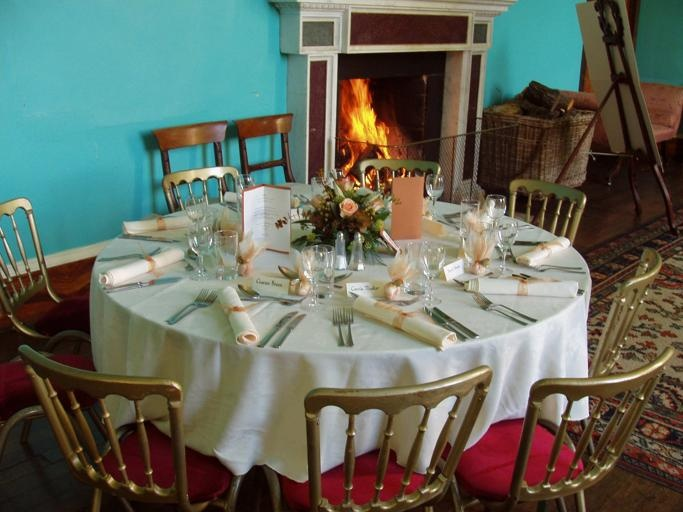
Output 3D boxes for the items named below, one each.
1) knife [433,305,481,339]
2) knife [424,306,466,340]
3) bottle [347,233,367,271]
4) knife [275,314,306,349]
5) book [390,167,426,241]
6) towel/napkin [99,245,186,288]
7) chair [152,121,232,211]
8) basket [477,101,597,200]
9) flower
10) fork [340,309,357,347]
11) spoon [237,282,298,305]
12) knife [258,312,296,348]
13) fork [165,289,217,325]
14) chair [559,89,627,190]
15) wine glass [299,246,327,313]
[{"bbox_3d":[0.374,0.204,1.713,0.044,0.018,0.321,-24,23,-10],"label":"knife"},{"bbox_3d":[0.341,0.219,1.698,0.043,0.018,0.241,-27,20,-1],"label":"knife"},{"bbox_3d":[0.060,-0.031,2.108,0.067,0.150,0.126,-2,16,3],"label":"bottle"},{"bbox_3d":[-0.168,0.240,1.630,0.031,0.017,0.192,17,25,13],"label":"knife"},{"bbox_3d":[0.301,-0.221,2.301,0.207,0.299,0.139,-7,17,-16],"label":"book"},{"bbox_3d":[-0.788,0.030,2.041,0.402,0.095,0.073,-13,55,-50],"label":"towel/napkin"},{"bbox_3d":[-0.995,-0.530,3.482,0.497,0.838,0.423,-9,1,-18],"label":"chair"},{"bbox_3d":[1.886,-1.249,5.844,1.346,0.830,1.264,16,20,3],"label":"basket"},{"bbox_3d":[0.034,-0.183,2.227,0.320,0.313,0.311,-8,8,-16],"label":"flower"},{"bbox_3d":[0.022,0.233,1.654,0.047,0.022,0.194,1,28,-12],"label":"fork"},{"bbox_3d":[-0.269,0.139,1.848,0.190,0.046,0.040,6,35,22],"label":"spoon"},{"bbox_3d":[-0.215,0.238,1.637,0.035,0.012,0.228,6,20,13],"label":"knife"},{"bbox_3d":[-0.526,0.172,1.752,0.054,0.031,0.211,13,36,25],"label":"fork"},{"bbox_3d":[2.392,-1.145,4.803,0.495,0.985,1.534,5,18,26],"label":"chair"},{"bbox_3d":[-0.104,0.056,1.821,0.095,0.215,0.174,-4,16,-6],"label":"wine glass"}]
